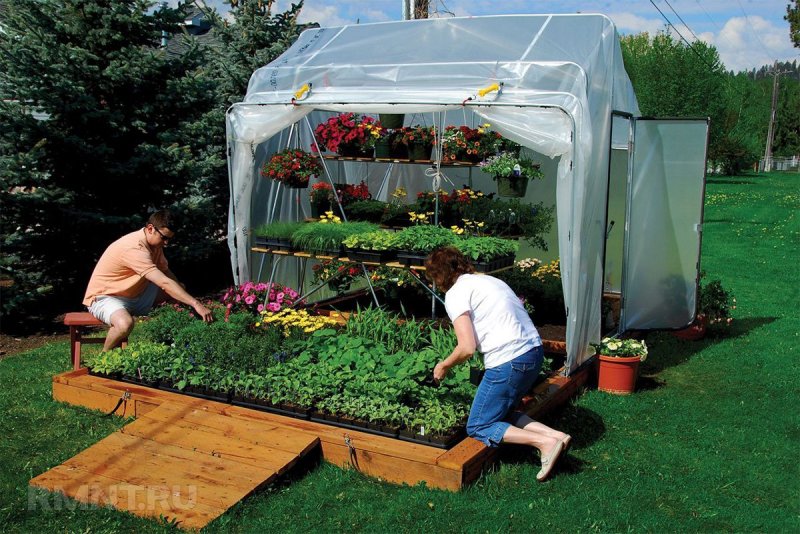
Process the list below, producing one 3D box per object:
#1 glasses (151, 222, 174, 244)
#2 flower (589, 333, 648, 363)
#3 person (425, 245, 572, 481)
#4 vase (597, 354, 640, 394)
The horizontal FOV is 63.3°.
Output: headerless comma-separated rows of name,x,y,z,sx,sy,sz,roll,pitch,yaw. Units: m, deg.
glasses,-2.613,-0.374,7.220,0.207,0.239,0.191,2,8,23
flower,2.593,0.937,7.626,0.444,0.179,0.445,2,0,39
person,0.830,0.873,5.714,1.132,2.109,0.494,-2,8,-5
vase,2.438,1.215,7.479,0.475,0.320,0.435,2,1,3
